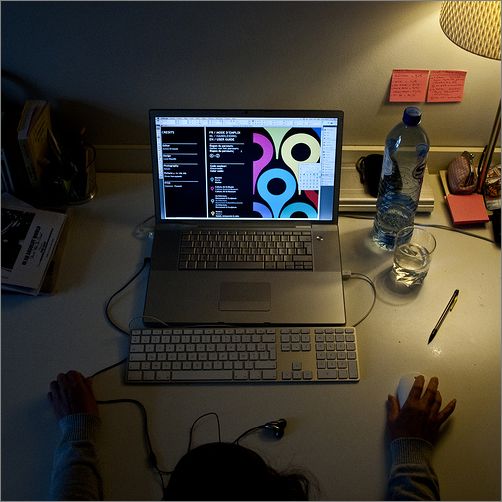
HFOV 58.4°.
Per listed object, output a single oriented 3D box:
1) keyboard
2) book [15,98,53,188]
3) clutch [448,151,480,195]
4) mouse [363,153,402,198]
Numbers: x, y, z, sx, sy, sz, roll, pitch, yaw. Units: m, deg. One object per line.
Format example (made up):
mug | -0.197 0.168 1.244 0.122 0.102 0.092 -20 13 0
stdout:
keyboard | -0.024 0.208 0.976 0.490 0.166 0.061 2 21 -3
book | -0.529 -0.284 1.175 0.107 0.161 0.147 4 74 3
clutch | 0.568 -0.205 1.267 0.081 0.108 0.092 -1 46 -1
mouse | 0.334 -0.216 1.208 0.059 0.028 0.133 1 76 14
